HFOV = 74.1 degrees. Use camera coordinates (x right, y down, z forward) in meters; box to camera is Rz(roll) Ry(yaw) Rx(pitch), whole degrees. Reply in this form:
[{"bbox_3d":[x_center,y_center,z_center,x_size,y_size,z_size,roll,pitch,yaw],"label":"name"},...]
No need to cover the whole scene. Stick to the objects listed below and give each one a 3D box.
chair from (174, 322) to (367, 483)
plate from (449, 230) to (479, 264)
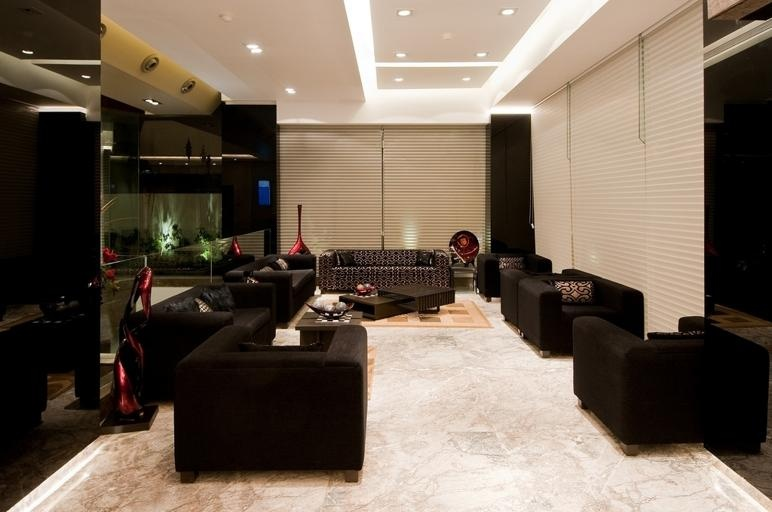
[{"bbox_3d":[-0.869,1.017,3.889,1.140,0.662,1.135,0,2,-4],"label":"chair"},{"bbox_3d":[1.492,-0.191,9.493,0.620,0.588,0.435,-2,8,-4],"label":"plate"}]
